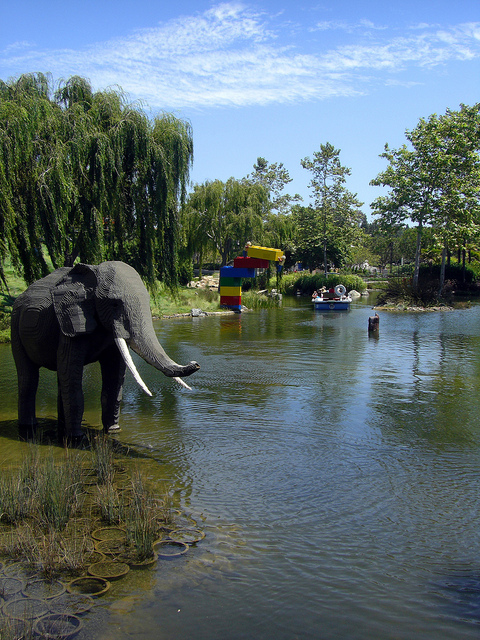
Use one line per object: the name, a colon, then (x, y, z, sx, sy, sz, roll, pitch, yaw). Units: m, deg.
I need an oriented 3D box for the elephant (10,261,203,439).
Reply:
elephant: (-1.827, 0.392, 8.542, 2.963, 2.270, 1.089, 1, 2, 36)

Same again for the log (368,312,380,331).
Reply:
log: (4.460, 0.084, 22.720, 0.434, 0.860, 0.492, 0, -2, 6)

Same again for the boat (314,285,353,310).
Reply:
boat: (4.931, -1.167, 36.375, 1.880, 1.233, 1.672, 2, 6, 7)

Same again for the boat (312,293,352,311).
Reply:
boat: (4.836, -0.921, 36.223, 1.858, 0.786, 1.965, -1, 6, -20)
